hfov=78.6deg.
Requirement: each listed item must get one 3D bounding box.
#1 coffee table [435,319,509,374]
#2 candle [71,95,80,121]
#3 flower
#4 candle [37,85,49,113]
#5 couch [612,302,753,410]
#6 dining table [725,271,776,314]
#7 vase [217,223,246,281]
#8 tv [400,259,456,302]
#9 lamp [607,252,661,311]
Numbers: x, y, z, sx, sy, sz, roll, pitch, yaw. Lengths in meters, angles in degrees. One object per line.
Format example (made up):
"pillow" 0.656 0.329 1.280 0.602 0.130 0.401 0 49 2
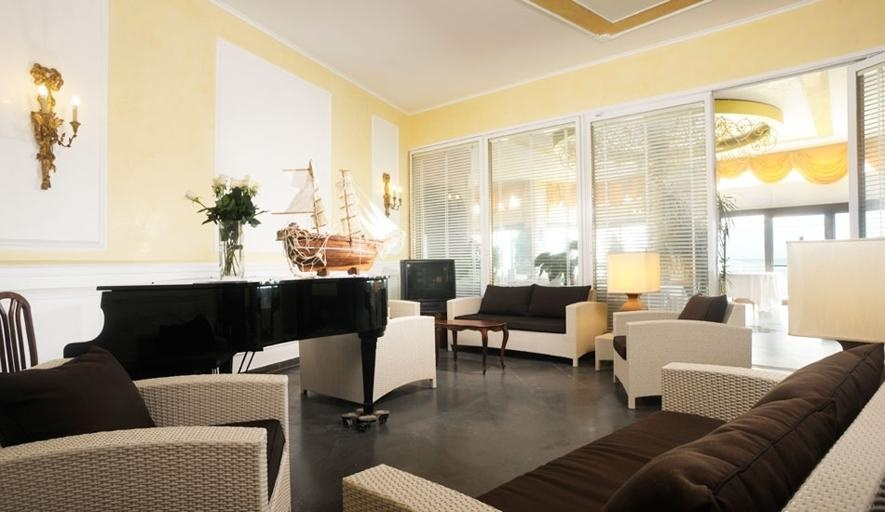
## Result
"coffee table" 0.387 1.266 6.900 1.020 0.600 0.623 -4 -6 44
"candle" -3.574 -1.433 5.250 0.093 0.246 0.245 -10 14 -33
"flower" -1.820 -0.507 4.900 0.656 0.423 0.530 14 10 30
"candle" -3.803 -1.492 5.146 0.099 0.246 0.076 -9 14 -32
"couch" 2.439 0.943 5.654 1.281 0.949 1.195 -1 -5 18
"dining table" 5.732 0.627 10.050 0.987 0.720 1.202 -2 -5 33
"vase" -1.833 -0.040 4.686 0.211 0.485 0.170 -6 13 -19
"tv" -0.192 0.425 8.680 1.229 0.908 0.595 1 -3 1
"lamp" 2.477 0.313 7.020 0.743 0.974 0.738 2 4 36
